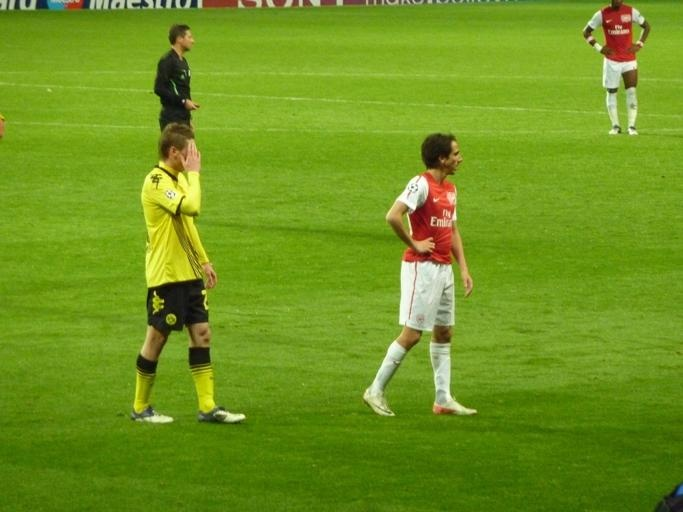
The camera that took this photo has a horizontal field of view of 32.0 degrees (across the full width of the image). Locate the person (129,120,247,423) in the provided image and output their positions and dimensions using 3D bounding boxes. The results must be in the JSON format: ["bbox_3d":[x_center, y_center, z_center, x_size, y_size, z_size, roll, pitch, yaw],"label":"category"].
[{"bbox_3d":[-1.317,0.134,9.610,0.727,2.389,0.494,-1,10,-11],"label":"person"}]

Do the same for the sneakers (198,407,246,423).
[{"bbox_3d":[-0.958,1.293,9.714,0.380,0.149,0.137,-1,4,0],"label":"sneakers"}]

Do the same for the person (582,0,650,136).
[{"bbox_3d":[4.747,-3.354,20.862,0.931,2.322,1.331,3,10,14],"label":"person"}]

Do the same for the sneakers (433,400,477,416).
[{"bbox_3d":[0.936,1.253,9.930,0.288,0.107,0.151,-1,0,4],"label":"sneakers"}]

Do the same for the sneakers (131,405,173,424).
[{"bbox_3d":[-1.515,1.276,9.693,0.347,0.146,0.126,2,0,2],"label":"sneakers"}]

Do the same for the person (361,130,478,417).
[{"bbox_3d":[0.675,0.145,9.879,0.827,2.320,0.545,-3,10,-20],"label":"person"}]

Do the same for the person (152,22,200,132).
[{"bbox_3d":[-2.052,-2.267,15.031,0.518,1.374,1.341,0,10,-8],"label":"person"}]
